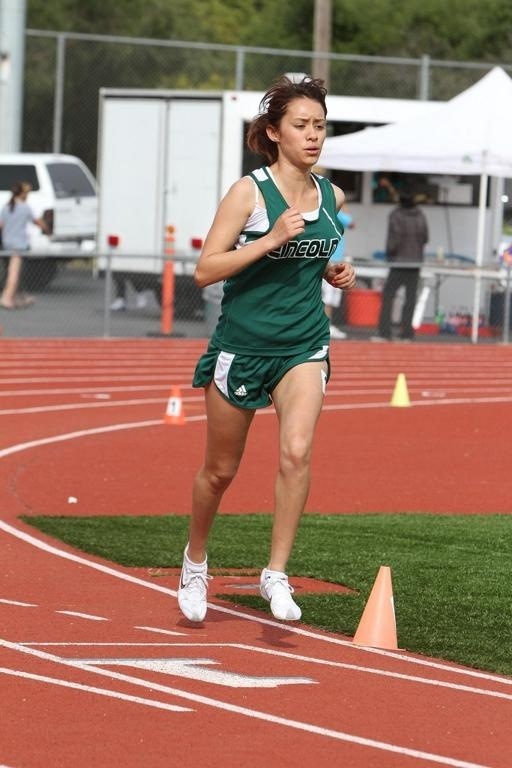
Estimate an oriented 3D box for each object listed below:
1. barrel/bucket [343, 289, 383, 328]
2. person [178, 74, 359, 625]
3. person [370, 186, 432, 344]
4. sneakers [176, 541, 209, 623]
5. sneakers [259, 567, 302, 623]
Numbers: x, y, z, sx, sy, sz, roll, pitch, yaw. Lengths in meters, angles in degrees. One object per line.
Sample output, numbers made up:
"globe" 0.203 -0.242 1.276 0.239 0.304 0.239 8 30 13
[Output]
"barrel/bucket" 1.678 -1.186 14.686 0.608 0.615 0.611 0 3 0
"person" 0.006 -0.111 3.232 0.552 1.893 0.617 2 0 4
"person" 2.227 -1.852 14.258 0.704 2.279 0.880 2 0 7
"sneakers" -0.232 0.761 3.526 0.107 0.117 0.295 2 48 -12
"sneakers" 0.084 0.734 3.193 0.103 0.173 0.203 2 0 -10
